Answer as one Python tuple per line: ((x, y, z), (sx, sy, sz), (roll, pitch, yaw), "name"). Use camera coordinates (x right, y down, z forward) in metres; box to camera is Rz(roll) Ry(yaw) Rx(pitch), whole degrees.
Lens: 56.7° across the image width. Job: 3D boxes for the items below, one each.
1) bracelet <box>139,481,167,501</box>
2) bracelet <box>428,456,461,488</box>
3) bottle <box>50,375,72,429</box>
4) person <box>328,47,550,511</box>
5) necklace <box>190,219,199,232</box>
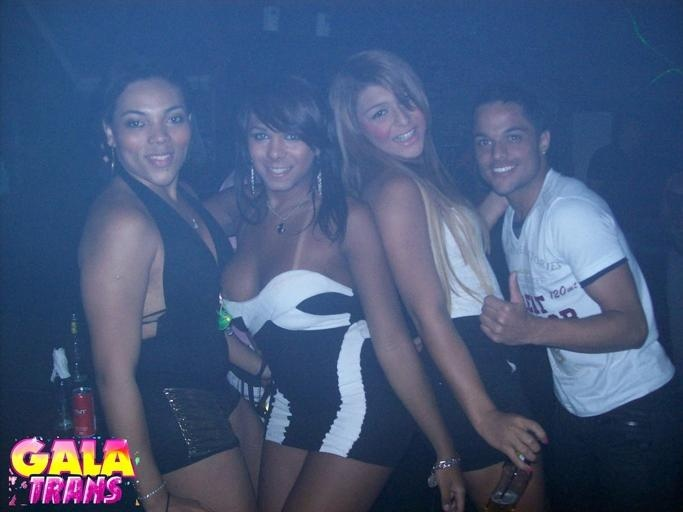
((-1.053, 1.317, 3.583), (0.114, 0.109, 0.125), (-32, -19, 24), "bracelet")
((0.611, 1.247, 3.706), (0.076, 0.197, 0.146), (14, -2, -20), "bracelet")
((-2.210, 1.185, 5.015), (0.129, 0.412, 0.589), (-8, -2, -24), "bottle")
((0.561, -0.052, 3.976), (1.070, 2.831, 0.756), (-9, -1, 23), "person")
((-0.928, -0.196, 4.030), (0.052, 0.053, 0.065), (-6, -10, 0), "necklace")
